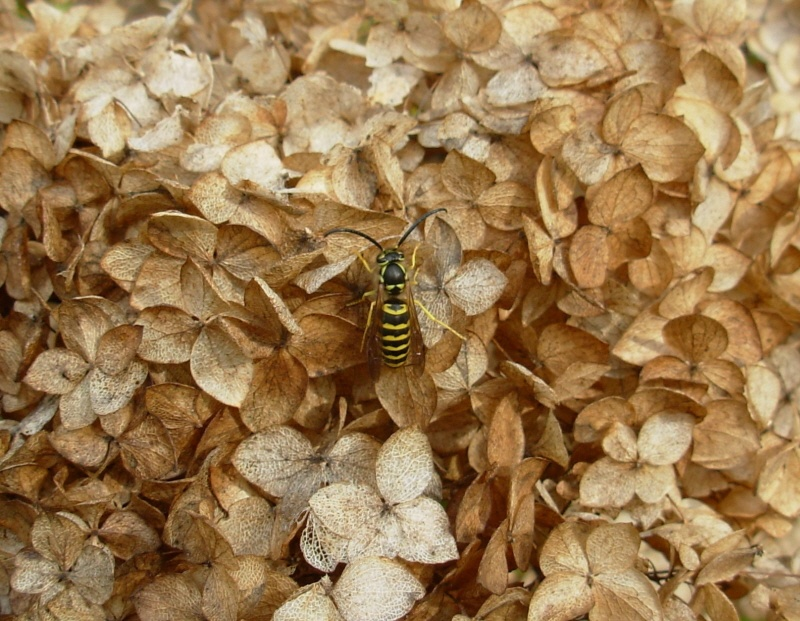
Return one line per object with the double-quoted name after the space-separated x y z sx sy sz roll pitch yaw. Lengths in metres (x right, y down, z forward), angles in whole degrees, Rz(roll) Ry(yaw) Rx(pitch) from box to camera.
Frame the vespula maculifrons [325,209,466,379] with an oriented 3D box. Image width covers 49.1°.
-0.008 -0.069 1.620 0.253 0.084 0.310 -3 101 -2 "vespula maculifrons"
